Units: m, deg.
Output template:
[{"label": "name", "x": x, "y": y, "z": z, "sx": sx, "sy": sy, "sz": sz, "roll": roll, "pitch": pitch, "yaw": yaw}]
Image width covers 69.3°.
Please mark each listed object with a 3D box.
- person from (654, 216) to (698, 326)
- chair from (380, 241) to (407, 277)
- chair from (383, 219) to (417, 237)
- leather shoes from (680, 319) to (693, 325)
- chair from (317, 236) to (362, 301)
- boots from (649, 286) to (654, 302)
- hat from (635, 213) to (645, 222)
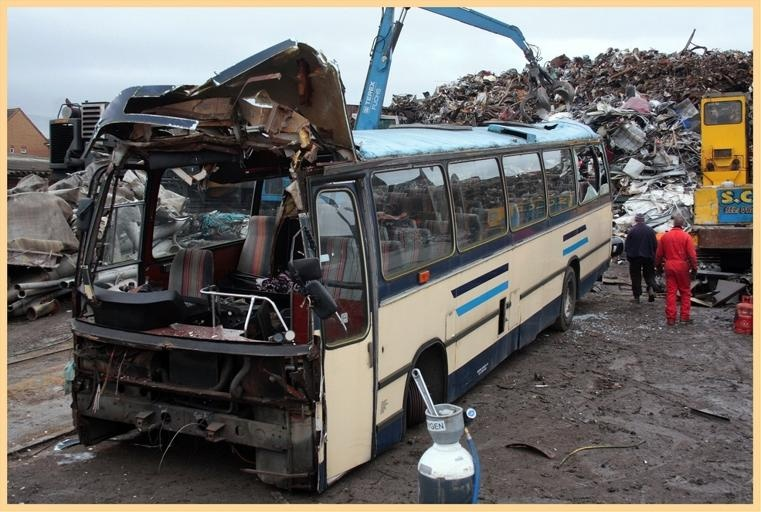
[{"label": "person", "x": 6.717, "y": 0.292, "z": 12.452, "sx": 0.722, "sy": 2.439, "sz": 0.880, "roll": -2, "pitch": 15, "yaw": -10}, {"label": "chair", "x": 0.096, "y": 0.003, "z": 7.097, "sx": 0.410, "sy": 0.498, "sz": 0.534, "roll": -3, "pitch": 2, "yaw": 19}, {"label": "chair", "x": 0.267, "y": -0.360, "z": 7.255, "sx": 0.173, "sy": 0.190, "sz": 0.558, "roll": -2, "pitch": 1, "yaw": 30}, {"label": "leather shoes", "x": 6.954, "y": 1.495, "z": 12.517, "sx": 0.386, "sy": 0.151, "sz": 0.127, "roll": -12, "pitch": 13, "yaw": -39}, {"label": "chair", "x": -0.445, "y": 0.167, "z": 6.481, "sx": 0.532, "sy": 0.736, "sz": 0.300, "roll": -5, "pitch": 16, "yaw": -22}, {"label": "boots", "x": 7.003, "y": 1.066, "z": 14.181, "sx": 0.155, "sy": 0.174, "sz": 0.439, "roll": -5, "pitch": -21, "yaw": 20}, {"label": "hat", "x": 6.566, "y": -0.944, "z": 14.011, "sx": 0.212, "sy": 0.175, "sz": 0.201, "roll": 0, "pitch": 9, "yaw": -15}]
